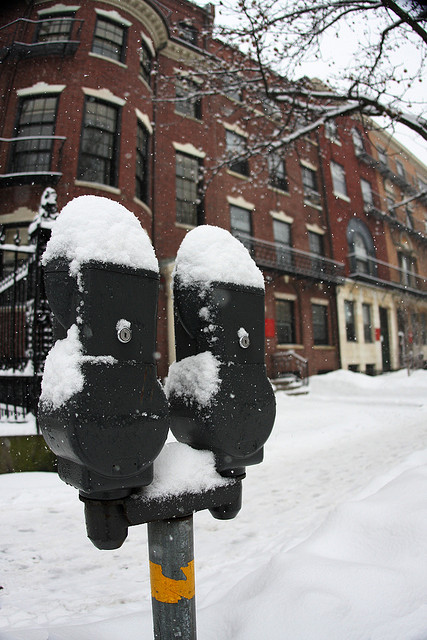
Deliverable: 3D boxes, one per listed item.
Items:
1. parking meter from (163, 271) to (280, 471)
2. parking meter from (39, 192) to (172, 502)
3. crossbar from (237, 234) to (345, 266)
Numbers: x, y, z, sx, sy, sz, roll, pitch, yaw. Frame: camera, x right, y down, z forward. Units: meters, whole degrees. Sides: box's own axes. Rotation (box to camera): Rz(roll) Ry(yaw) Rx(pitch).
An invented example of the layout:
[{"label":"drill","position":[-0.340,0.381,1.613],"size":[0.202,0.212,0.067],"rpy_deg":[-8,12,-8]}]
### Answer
[{"label":"parking meter","position":[0.031,0.204,2.244],"size":[0.466,0.788,0.390],"rpy_deg":[1,5,-3]},{"label":"parking meter","position":[-0.383,0.070,1.968],"size":[0.434,1.060,0.424],"rpy_deg":[-1,5,-28]},{"label":"crossbar","position":[2.307,-2.147,16.605],"size":[3.654,0.057,0.169],"rpy_deg":[11,-53,-35]}]
